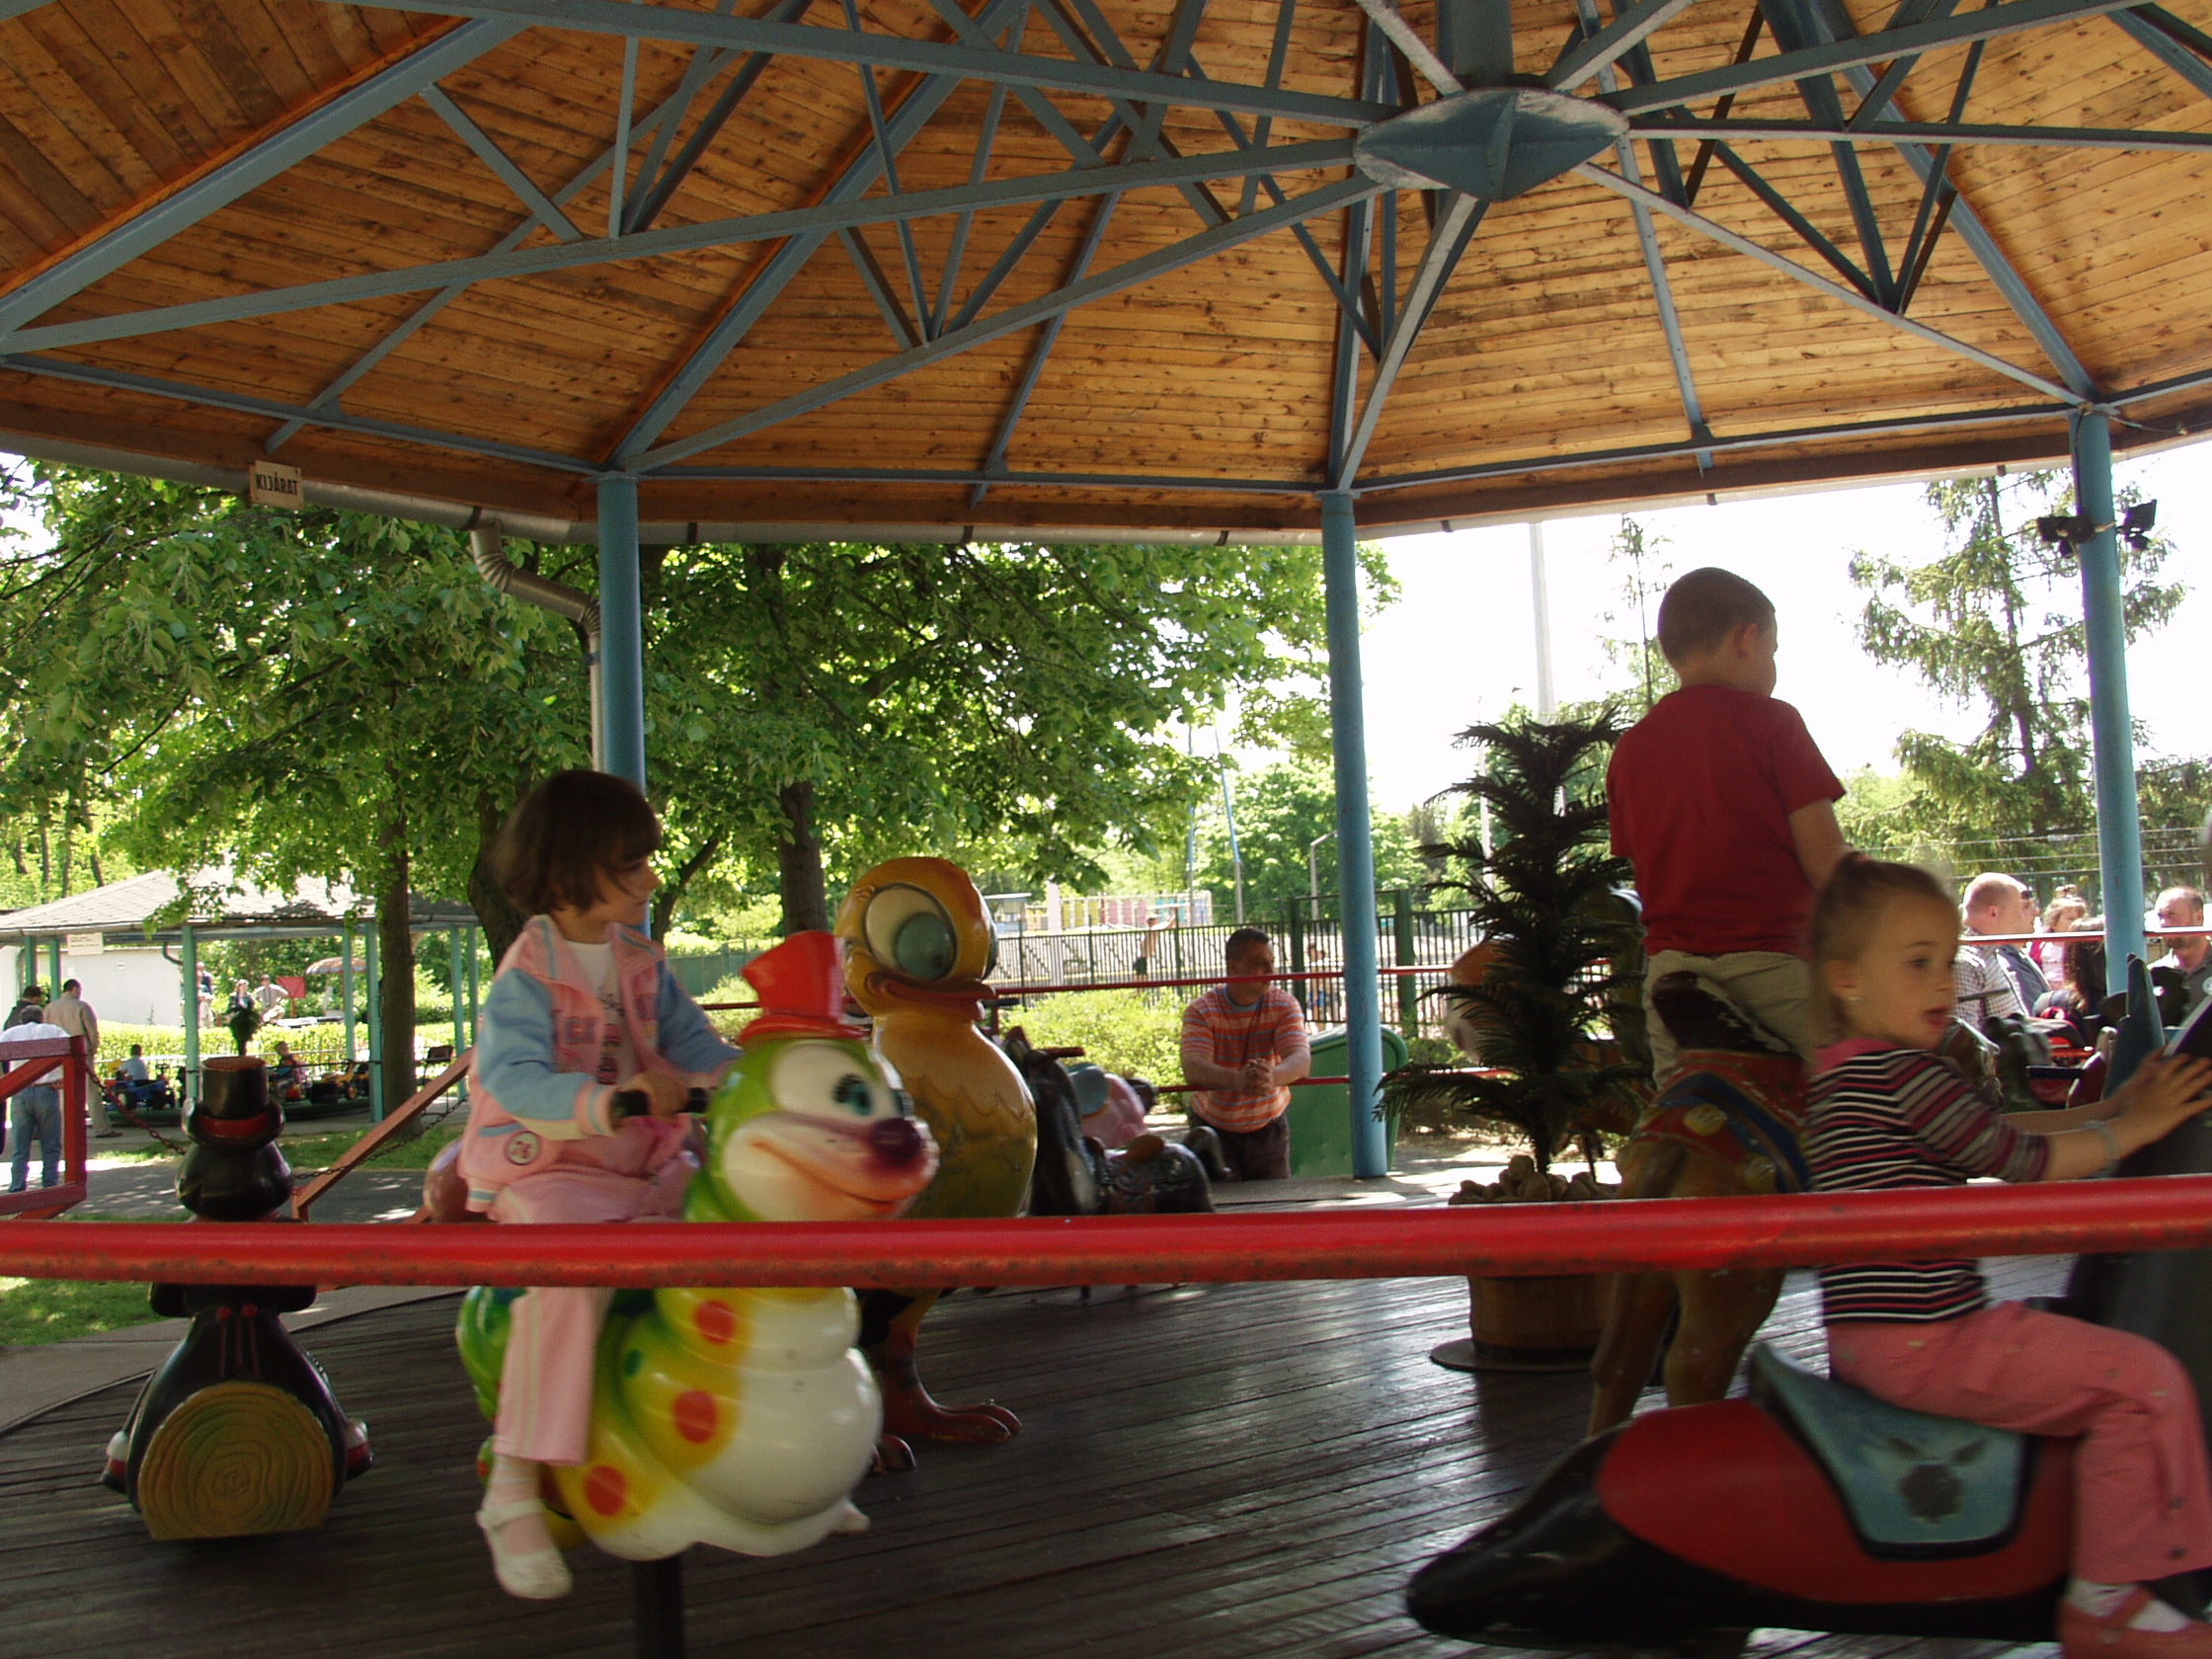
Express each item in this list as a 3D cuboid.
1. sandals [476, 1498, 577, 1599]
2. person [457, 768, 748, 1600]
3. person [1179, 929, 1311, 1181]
[{"bbox_3d":[-0.908,1.143,2.687,0.136,0.117,0.342,6,-15,-26],"label":"sandals"},{"bbox_3d":[-0.820,0.577,2.760,0.481,1.402,0.867,-3,-8,-19],"label":"person"},{"bbox_3d":[0.710,1.195,8.619,0.617,1.305,0.997,-6,-8,0],"label":"person"}]
